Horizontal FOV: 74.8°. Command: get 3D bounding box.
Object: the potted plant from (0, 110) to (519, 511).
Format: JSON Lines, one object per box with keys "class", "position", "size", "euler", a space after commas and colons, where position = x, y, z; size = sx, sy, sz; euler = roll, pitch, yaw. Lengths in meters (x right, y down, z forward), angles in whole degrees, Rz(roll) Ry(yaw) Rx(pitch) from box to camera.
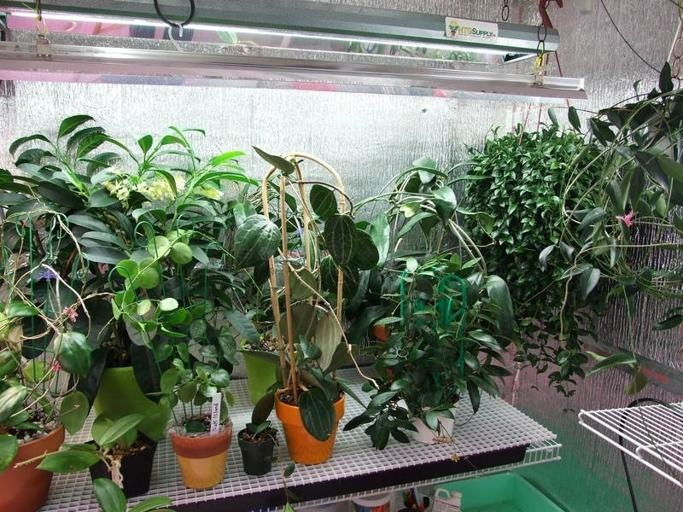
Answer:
{"class": "potted plant", "position": [-0.291, 0.124, 1.407], "size": [1.507, 1.106, 0.763], "euler": [-2, 12, -11]}
